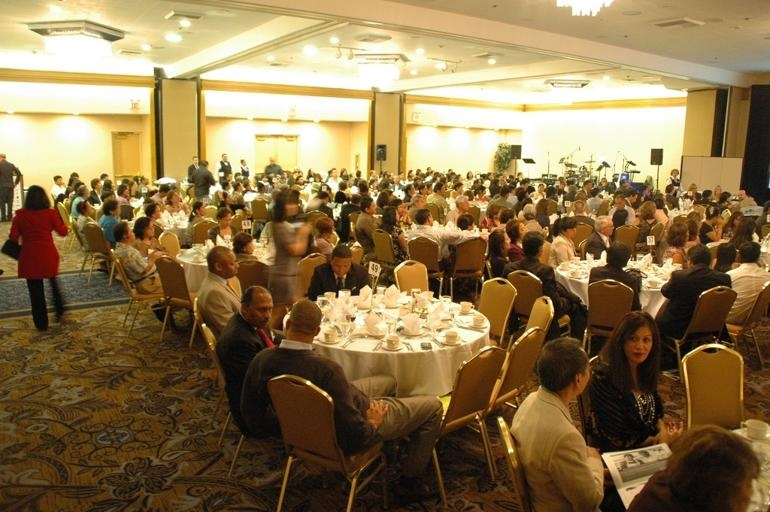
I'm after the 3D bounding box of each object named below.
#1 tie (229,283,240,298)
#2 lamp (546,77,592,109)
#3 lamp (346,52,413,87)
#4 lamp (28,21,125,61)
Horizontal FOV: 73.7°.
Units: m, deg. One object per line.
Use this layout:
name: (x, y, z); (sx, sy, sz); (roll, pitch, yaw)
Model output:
tie: (-1.663, 0.372, 5.595); (0.032, 0.122, 0.128); (-31, -3, 2)
lamp: (7.025, -6.162, 19.319); (1.967, 0.506, 2.195); (1, 3, 34)
lamp: (-0.142, -5.021, 13.671); (2.174, 0.781, 1.728); (4, 17, 7)
lamp: (-6.265, -4.431, 10.384); (1.110, 0.261, 1.115); (3, 12, 9)
